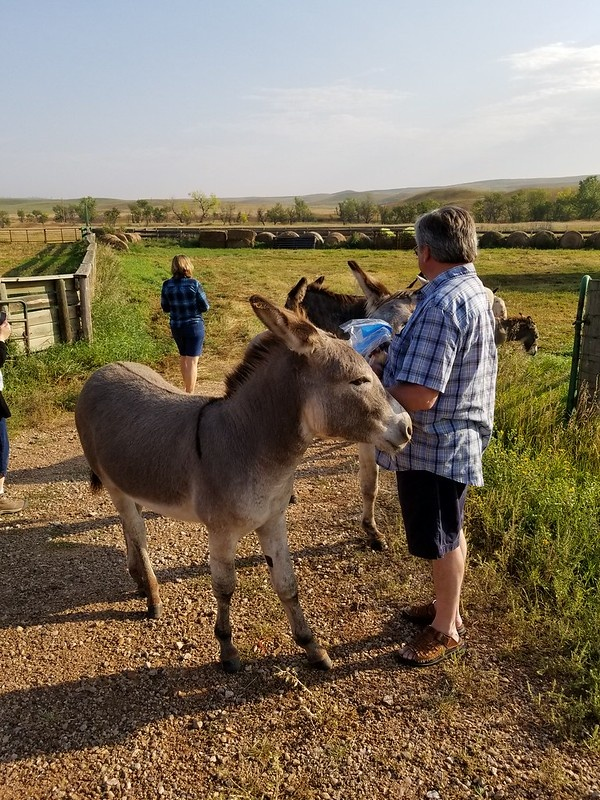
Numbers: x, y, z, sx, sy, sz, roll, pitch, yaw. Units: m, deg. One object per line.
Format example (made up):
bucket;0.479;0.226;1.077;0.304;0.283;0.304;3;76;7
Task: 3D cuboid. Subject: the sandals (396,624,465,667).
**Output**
sandals;0.733;1.390;3.602;0.365;0.143;0.165;-11;30;-9

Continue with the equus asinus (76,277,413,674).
equus asinus;-0.420;0.463;3.480;2.040;2.119;0.622;11;19;41

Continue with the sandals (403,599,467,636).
sandals;0.820;1.350;3.895;0.386;0.150;0.147;8;17;11

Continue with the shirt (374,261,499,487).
shirt;0.724;-0.094;3.100;0.605;1.102;0.447;-4;14;-9
